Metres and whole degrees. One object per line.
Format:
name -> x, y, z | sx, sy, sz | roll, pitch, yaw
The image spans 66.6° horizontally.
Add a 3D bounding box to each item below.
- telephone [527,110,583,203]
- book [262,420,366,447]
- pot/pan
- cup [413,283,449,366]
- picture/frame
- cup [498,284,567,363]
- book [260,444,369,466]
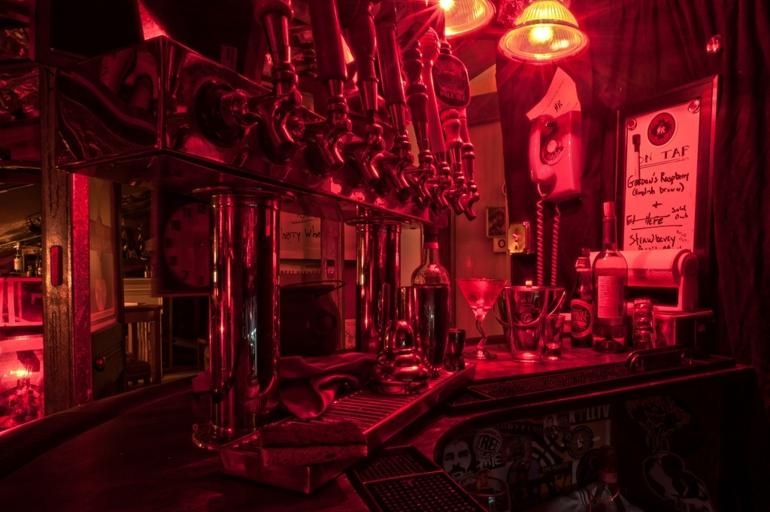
telephone -> 0.803, -0.466, 2.723 | 0.084, 0.397, 0.273 | 7, -17, -37
book -> -0.142, 0.346, 1.152 | 0.123, 0.028, 0.072 | 1, -2, -4
pot/pan -> -0.163, 0.161, 1.472 | 0.132, 0.180, 0.249 | -11, -15, 29
cup -> 0.126, 0.183, 1.530 | 0.087, 0.208, 0.067 | -4, -14, 1
picture/frame -> 1.117, -0.286, 2.304 | 0.111, 0.731, 0.554 | 1, -14, -20
cup -> 0.449, 0.196, 1.837 | 0.251, 0.245, 0.207 | 0, -1, 4
book -> -0.141, 0.375, 1.113 | 0.074, 0.019, 0.081 | -5, -8, 40
